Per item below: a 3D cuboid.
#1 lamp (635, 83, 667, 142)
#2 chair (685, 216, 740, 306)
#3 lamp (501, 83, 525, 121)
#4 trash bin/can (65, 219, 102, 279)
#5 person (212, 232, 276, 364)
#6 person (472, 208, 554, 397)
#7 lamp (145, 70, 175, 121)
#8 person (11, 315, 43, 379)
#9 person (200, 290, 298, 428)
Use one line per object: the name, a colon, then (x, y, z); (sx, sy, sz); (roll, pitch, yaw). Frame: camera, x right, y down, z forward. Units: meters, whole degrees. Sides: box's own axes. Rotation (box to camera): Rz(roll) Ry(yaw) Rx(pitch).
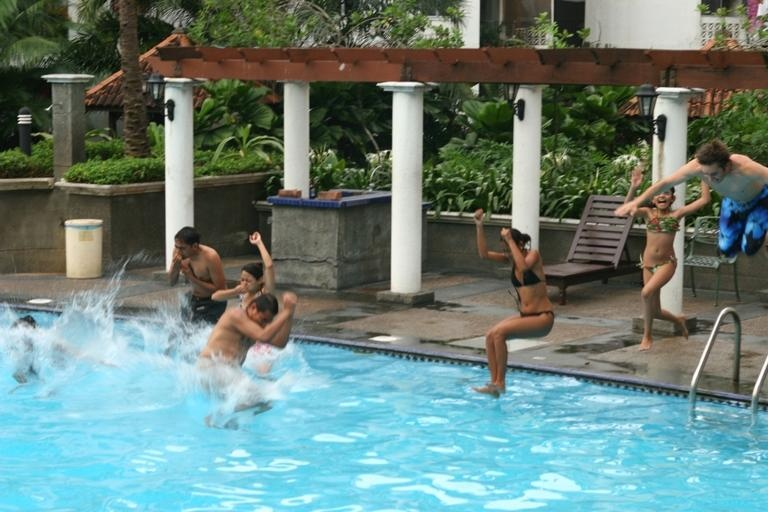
lamp: (4.125, -2.199, 15.444); (0.448, 0.885, 0.708); (1, 5, 5)
chair: (5.633, 0.039, 17.315); (1.010, 1.420, 0.881); (-8, 10, -44)
lamp: (2.311, -2.750, 17.914); (0.340, 0.638, 0.579); (4, 6, 28)
trash bin/can: (-5.773, -0.128, 19.064); (0.813, 1.038, 0.741); (6, 7, 29)
person: (-1.836, 0.743, 13.374); (0.830, 1.891, 0.686); (-5, -4, 29)
person: (1.728, 0.621, 13.335); (1.057, 2.443, 0.680); (2, 6, 12)
lamp: (-4.135, -2.911, 18.331); (0.468, 0.855, 0.399); (-2, 6, -25)
person: (-5.092, 1.276, 14.051); (0.362, 0.956, 0.372); (35, 39, 26)
person: (-1.704, 0.947, 12.810); (1.296, 1.016, 0.552); (2, 6, 18)
